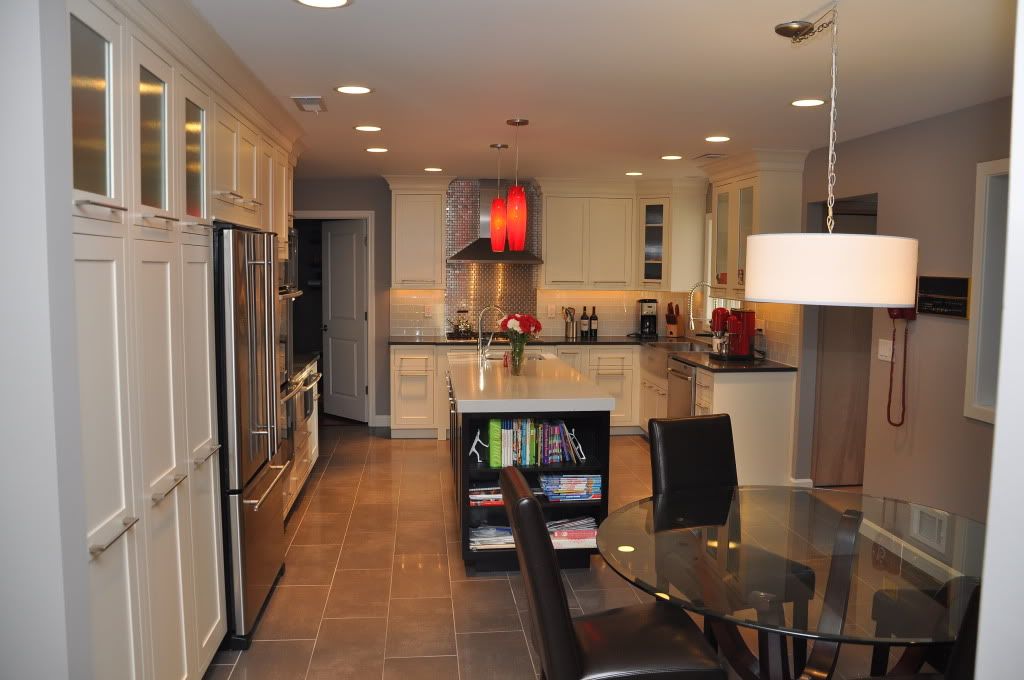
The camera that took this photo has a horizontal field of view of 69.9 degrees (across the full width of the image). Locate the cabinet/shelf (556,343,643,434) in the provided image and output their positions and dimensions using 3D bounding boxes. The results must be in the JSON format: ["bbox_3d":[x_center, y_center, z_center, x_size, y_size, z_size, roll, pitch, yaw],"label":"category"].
[{"bbox_3d":[0.845,0.561,8.294,0.975,1.294,0.871,0,-2,0],"label":"cabinet/shelf"}]

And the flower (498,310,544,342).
[{"bbox_3d":[0.053,-0.097,5.873,0.293,0.243,0.464,-2,10,-2],"label":"flower"}]

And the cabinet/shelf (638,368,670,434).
[{"bbox_3d":[1.329,0.537,6.843,0.366,0.656,0.694,1,2,2],"label":"cabinet/shelf"}]

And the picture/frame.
[{"bbox_3d":[2.850,-0.290,4.410,0.207,1.547,0.414,6,13,30],"label":"picture/frame"}]

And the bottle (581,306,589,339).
[{"bbox_3d":[0.813,-0.198,8.237,0.138,0.317,0.203,-1,11,2],"label":"bottle"}]

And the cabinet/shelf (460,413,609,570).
[{"bbox_3d":[0.129,0.852,5.191,1.342,1.347,0.954,0,0,-5],"label":"cabinet/shelf"}]

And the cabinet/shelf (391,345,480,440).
[{"bbox_3d":[-0.618,0.476,7.844,1.356,1.220,0.891,0,-1,-1],"label":"cabinet/shelf"}]

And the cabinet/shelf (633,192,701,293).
[{"bbox_3d":[1.665,-1.078,7.775,0.748,1.076,0.421,2,12,17],"label":"cabinet/shelf"}]

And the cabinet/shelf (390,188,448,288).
[{"bbox_3d":[-1.011,-1.082,7.841,0.559,1.027,0.156,-1,12,4],"label":"cabinet/shelf"}]

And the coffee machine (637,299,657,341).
[{"bbox_3d":[1.505,-0.232,8.142,0.210,0.419,0.331,1,11,12],"label":"coffee machine"}]

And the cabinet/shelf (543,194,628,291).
[{"bbox_3d":[0.758,-1.107,7.993,1.035,0.957,0.387,0,6,-2],"label":"cabinet/shelf"}]

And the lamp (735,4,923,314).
[{"bbox_3d":[1.406,-0.788,3.141,0.607,1.318,1.576,4,12,23],"label":"lamp"}]

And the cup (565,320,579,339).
[{"bbox_3d":[0.656,-0.107,8.206,0.187,0.204,0.189,1,3,0],"label":"cup"}]

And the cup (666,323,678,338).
[{"bbox_3d":[1.778,-0.095,8.115,0.120,0.123,0.125,0,9,0],"label":"cup"}]

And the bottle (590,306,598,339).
[{"bbox_3d":[0.907,-0.195,8.241,0.097,0.339,0.259,-1,11,4],"label":"bottle"}]

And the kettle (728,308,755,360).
[{"bbox_3d":[2.054,-0.046,6.559,0.214,0.408,0.311,3,12,19],"label":"kettle"}]
